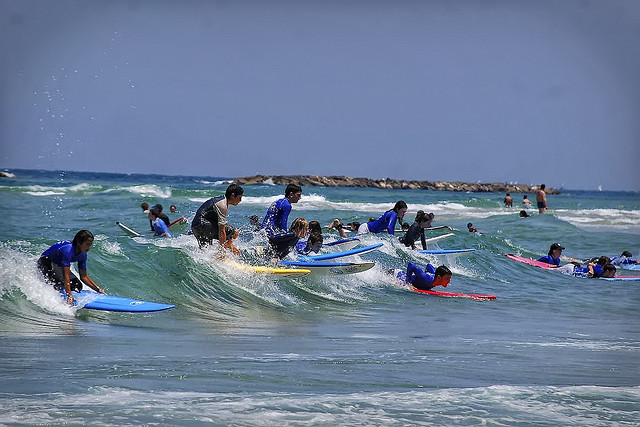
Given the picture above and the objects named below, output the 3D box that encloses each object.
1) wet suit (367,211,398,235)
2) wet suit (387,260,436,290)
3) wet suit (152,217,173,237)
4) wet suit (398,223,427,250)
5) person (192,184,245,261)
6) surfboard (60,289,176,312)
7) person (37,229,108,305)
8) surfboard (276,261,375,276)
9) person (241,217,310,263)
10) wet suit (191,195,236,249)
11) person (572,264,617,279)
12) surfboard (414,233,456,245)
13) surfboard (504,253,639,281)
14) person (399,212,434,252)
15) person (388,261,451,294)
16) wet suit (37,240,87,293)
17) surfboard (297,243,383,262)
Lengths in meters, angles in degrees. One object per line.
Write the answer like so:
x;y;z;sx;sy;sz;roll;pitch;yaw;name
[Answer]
1.754;0.207;22.244;0.521;0.750;1.137;1;11;-22;wet suit
2.264;1.481;19.764;0.372;0.498;1.162;-5;14;-44;wet suit
-4.947;0.403;25.559;0.336;0.508;1.189;-2;12;-36;wet suit
2.571;0.571;22.167;0.821;0.757;0.492;-2;13;-37;wet suit
-2.122;0.156;17.452;1.068;1.767;1.043;9;11;19;person
-4.017;1.696;15.836;1.754;0.141;0.261;9;17;-2;surfboard
-4.755;0.938;15.352;1.126;1.442;0.744;3;11;-11;person
0.040;1.235;18.562;2.894;0.209;0.364;1;-20;-17;surfboard
-0.999;0.641;18.092;1.364;0.655;0.900;-13;14;-6;person
-2.295;0.177;17.249;0.792;1.178;0.344;10;12;24;wet suit
7.940;1.643;23.331;1.267;0.456;0.482;-1;-4;33;person
3.686;0.809;25.970;2.042;0.210;0.208;-7;1;-45;surfboard
7.450;1.603;24.255;2.956;0.410;0.249;9;27;42;surfboard
2.846;0.556;23.935;0.981;0.388;1.330;23;-38;-4;person
2.552;1.511;19.782;1.215;0.505;0.663;14;10;32;person
-4.833;1.021;15.314;0.597;0.395;0.900;18;-44;-22;wet suit
0.523;0.968;20.302;0.491;0.269;3.828;10;5;44;surfboard
